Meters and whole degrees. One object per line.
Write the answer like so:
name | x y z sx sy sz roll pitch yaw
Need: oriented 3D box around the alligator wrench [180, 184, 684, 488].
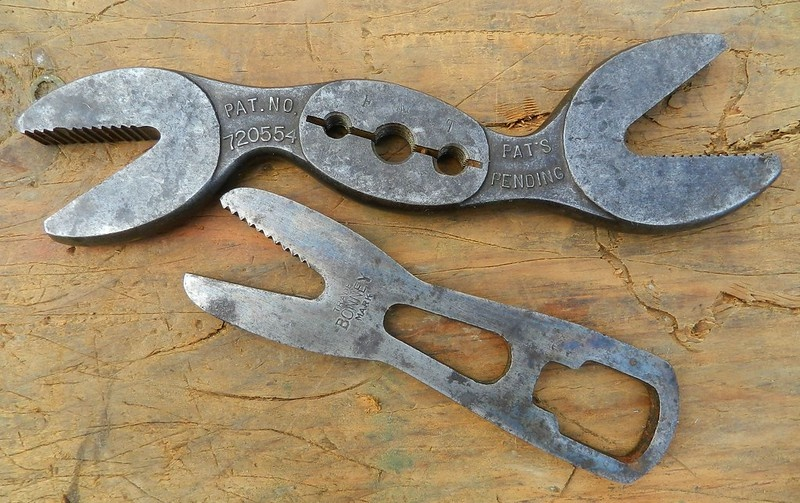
alligator wrench | 0.142 0.624 8.843 6.728 0.212 1.442 18 81 3

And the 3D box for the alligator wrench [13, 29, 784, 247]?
alligator wrench | 0.045 -0.933 8.811 7.903 0.303 1.759 1 70 -1
